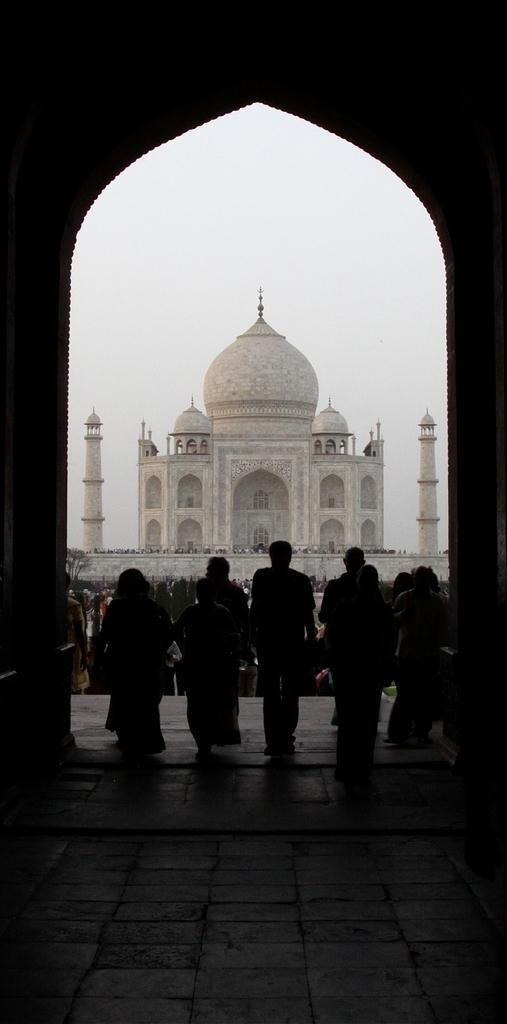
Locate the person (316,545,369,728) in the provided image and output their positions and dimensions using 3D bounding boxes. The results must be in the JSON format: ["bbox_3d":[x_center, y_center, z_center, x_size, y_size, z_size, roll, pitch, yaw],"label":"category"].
[{"bbox_3d":[0.400,0.513,5.250,0.215,0.936,0.239,-4,31,-7],"label":"person"}]

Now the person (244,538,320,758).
[{"bbox_3d":[0.122,0.562,4.857,0.271,0.865,0.301,0,-1,-1],"label":"person"}]

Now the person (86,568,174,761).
[{"bbox_3d":[-0.486,0.552,4.735,0.219,0.877,0.249,-1,33,-6],"label":"person"}]
